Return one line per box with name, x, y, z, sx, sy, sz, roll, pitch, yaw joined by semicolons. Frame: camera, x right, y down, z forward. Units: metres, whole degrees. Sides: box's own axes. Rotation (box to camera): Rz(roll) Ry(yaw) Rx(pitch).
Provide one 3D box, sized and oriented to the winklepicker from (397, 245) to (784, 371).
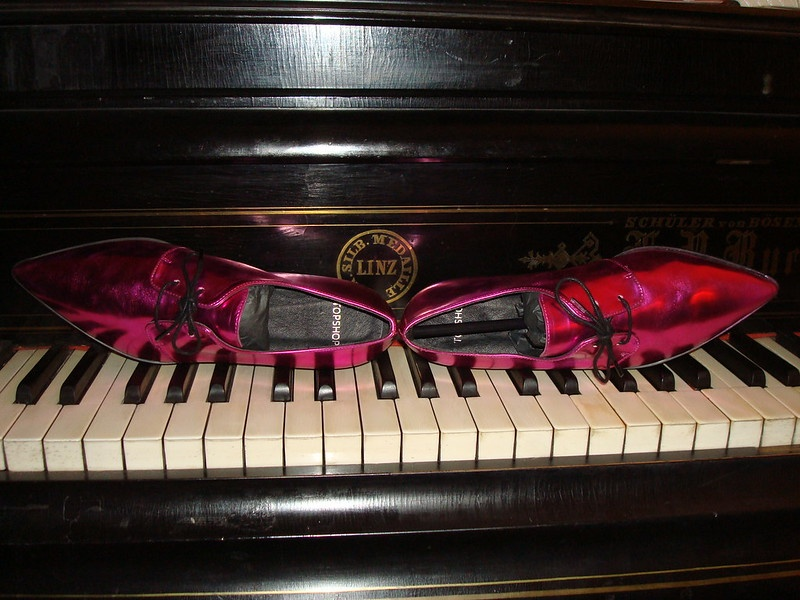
winklepicker;0.440;0.044;1.541;0.861;0.179;0.199;-8;-13;5
